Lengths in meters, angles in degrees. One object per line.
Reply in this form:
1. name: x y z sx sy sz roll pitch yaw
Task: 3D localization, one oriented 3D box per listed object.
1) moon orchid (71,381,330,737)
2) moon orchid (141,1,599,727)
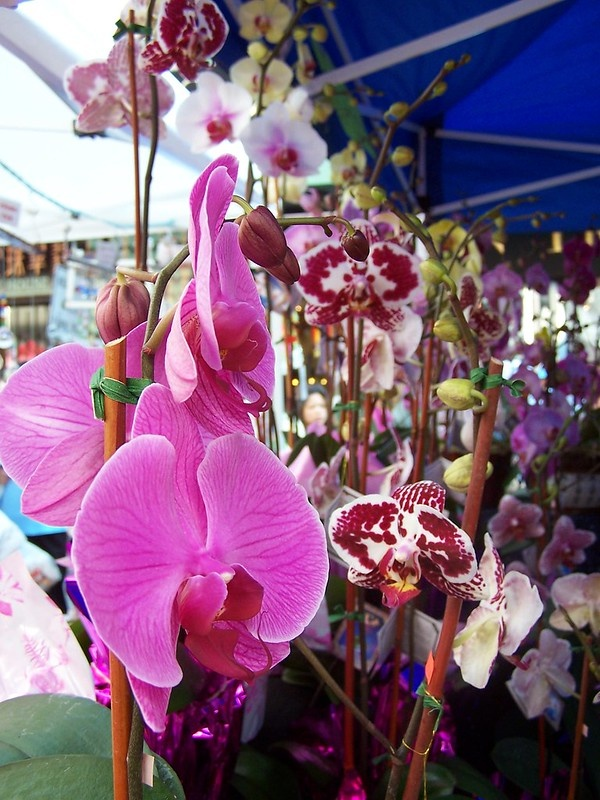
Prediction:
1. moon orchid: -0.069 0.088 0.414 0.152 0.149 0.159 14 31 -36
2. moon orchid: 0.050 -0.027 0.595 0.438 0.646 0.142 1 10 3
